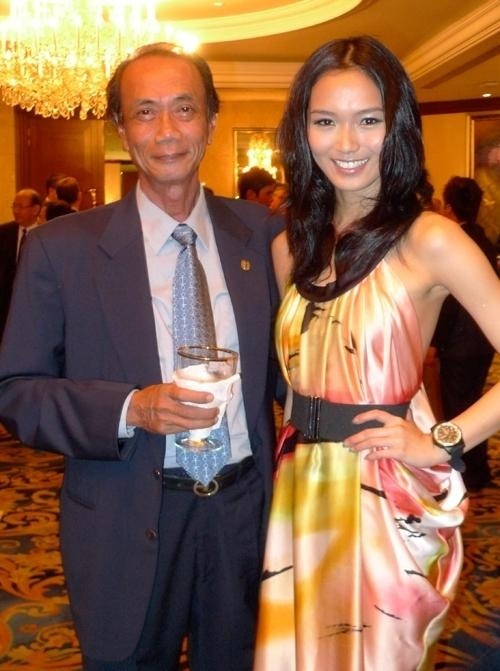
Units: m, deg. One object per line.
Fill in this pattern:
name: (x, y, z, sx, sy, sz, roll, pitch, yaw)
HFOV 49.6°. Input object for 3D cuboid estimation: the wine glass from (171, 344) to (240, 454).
wine glass: (-0.081, 0.124, 0.997, 0.112, 0.202, 0.201, -1, 11, -7)

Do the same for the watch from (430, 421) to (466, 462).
watch: (0.380, 0.204, 1.091, 0.064, 0.073, 0.073, -16, -32, -4)
